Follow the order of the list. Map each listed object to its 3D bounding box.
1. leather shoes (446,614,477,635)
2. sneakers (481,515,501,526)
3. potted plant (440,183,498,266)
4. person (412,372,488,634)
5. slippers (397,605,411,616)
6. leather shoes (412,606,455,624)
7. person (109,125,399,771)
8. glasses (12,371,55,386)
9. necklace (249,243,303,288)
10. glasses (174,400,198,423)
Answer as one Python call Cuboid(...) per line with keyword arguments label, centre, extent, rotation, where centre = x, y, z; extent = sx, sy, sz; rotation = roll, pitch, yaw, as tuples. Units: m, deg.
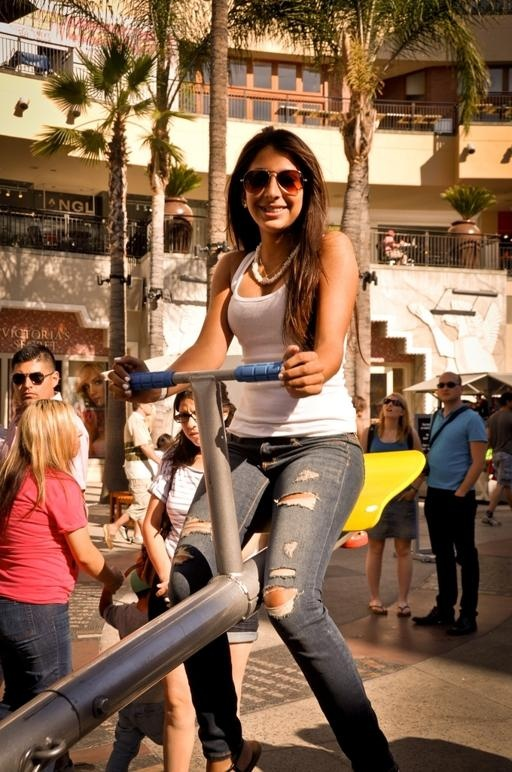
Cuboid(label="leather shoes", centre=(1.604, 1.861, 6.005), extent=(0.103, 0.104, 0.287), rotation=(-2, -7, 43))
Cuboid(label="sneakers", centre=(3.842, 2.217, 12.661), extent=(0.133, 0.145, 0.346), rotation=(0, -4, -19))
Cuboid(label="potted plant", centre=(7.204, -5.384, 26.224), extent=(1.560, 2.419, 1.576), rotation=(-12, 10, -38))
Cuboid(label="person", centre=(1.672, 1.075, 6.523), extent=(0.498, 1.769, 1.182), rotation=(2, 3, 13))
Cuboid(label="slippers", centre=(1.279, 1.935, 6.640), extent=(0.130, 0.080, 0.089), rotation=(1, 3, 0))
Cuboid(label="leather shoes", centre=(1.472, 1.893, 6.385), extent=(0.386, 0.150, 0.124), rotation=(4, -9, -13))
Cuboid(label="person", centre=(0.021, 0.178, 2.217), extent=(0.669, 1.973, 0.894), rotation=(0, 3, -8))
Cuboid(label="glasses", centre=(-1.389, -0.043, 4.770), extent=(0.237, 0.085, 0.163), rotation=(1, 3, -3))
Cuboid(label="necklace", centre=(0.065, -0.377, 2.343), extent=(0.111, 0.142, 0.034), rotation=(4, -27, 37))
Cuboid(label="glasses", centre=(-0.301, 0.112, 3.377), extent=(0.110, 0.033, 0.104), rotation=(26, -36, -24))
